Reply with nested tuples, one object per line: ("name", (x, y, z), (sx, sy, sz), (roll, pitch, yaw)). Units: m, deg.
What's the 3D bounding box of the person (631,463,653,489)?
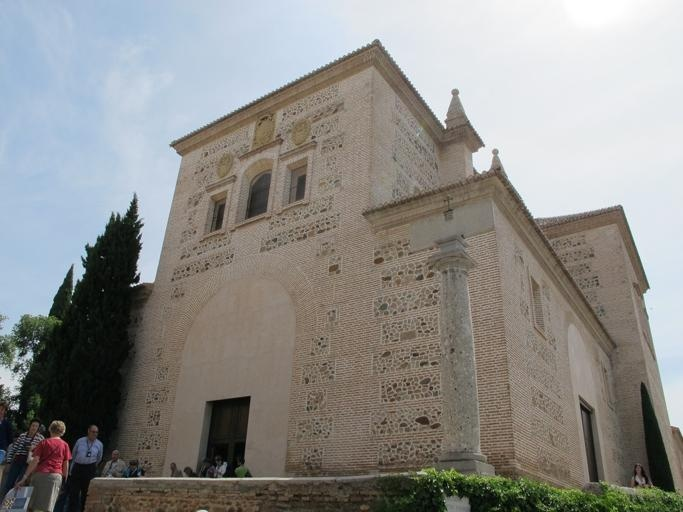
("person", (6.935, 5.133, 11.564), (0.349, 0.524, 1.149), (-13, -35, 25))
